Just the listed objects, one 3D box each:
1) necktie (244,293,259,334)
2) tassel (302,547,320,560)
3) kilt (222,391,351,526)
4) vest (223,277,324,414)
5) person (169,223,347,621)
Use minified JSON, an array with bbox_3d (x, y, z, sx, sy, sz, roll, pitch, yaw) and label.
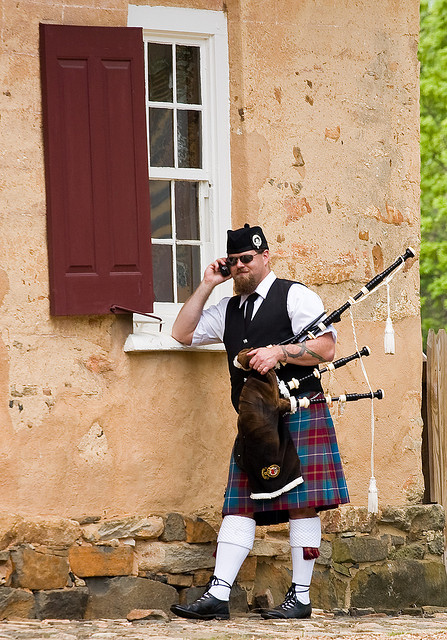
[{"bbox_3d":[0.129,-0.045,5.736,0.040,0.204,0.030,5,-22,15],"label":"necktie"},{"bbox_3d":[0.372,0.997,5.650,0.055,0.054,0.021,3,-8,-10],"label":"tassel"},{"bbox_3d":[0.233,0.535,5.784,0.547,0.609,0.489,-3,9,-31],"label":"kilt"},{"bbox_3d":[0.222,0.113,5.638,0.361,0.618,0.451,-10,-5,-40],"label":"vest"},{"bbox_3d":[0.156,0.425,5.678,0.710,1.690,0.581,0,1,15],"label":"person"}]
